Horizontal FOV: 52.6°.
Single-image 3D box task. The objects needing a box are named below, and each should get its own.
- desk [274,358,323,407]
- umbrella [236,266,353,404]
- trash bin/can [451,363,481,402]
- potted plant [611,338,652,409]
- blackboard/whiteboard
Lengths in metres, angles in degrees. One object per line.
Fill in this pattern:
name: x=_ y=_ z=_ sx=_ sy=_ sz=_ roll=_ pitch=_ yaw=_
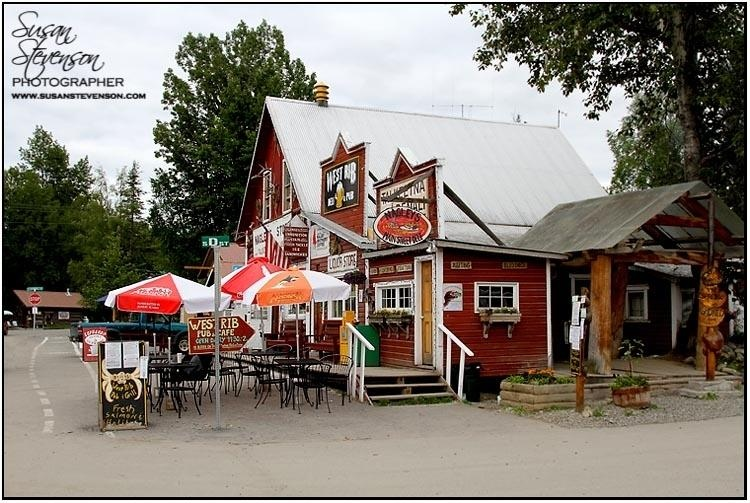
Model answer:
desk: x=-2.176 y=3.782 z=21.482 sx=1.446 sy=1.231 sz=1.402 roll=3 pitch=-11 yaw=-15
umbrella: x=-2.239 y=0.990 z=20.948 sx=2.754 sy=1.012 sz=0.981 roll=1 pitch=-7 yaw=-16
trash bin/can: x=2.484 y=3.817 z=22.093 sx=0.944 sy=1.420 sz=1.027 roll=-5 pitch=-10 yaw=28
potted plant: x=7.707 y=3.733 z=22.963 sx=0.789 sy=1.643 sz=0.832 roll=2 pitch=0 yaw=2
blackboard/whiteboard: x=-6.004 y=3.170 z=17.921 sx=1.107 sy=2.060 sz=0.281 roll=1 pitch=-7 yaw=-21
